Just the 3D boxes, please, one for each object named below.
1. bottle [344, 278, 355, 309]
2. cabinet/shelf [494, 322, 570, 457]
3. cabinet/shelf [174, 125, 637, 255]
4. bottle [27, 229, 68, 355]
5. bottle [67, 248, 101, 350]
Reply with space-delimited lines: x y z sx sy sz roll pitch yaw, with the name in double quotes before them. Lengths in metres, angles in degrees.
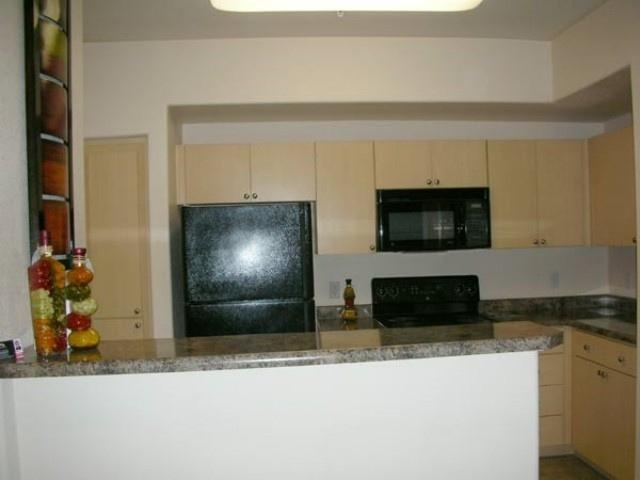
"bottle" 0.207 0.379 4.001 0.076 0.217 0.139 0 8 3
"cabinet/shelf" 1.609 1.108 4.035 0.331 0.656 0.356 -4 -7 34
"cabinet/shelf" 0.653 -0.348 3.946 2.788 0.846 0.470 1 8 4
"bottle" -1.141 0.217 2.356 0.140 0.505 0.143 0 8 0
"bottle" -1.039 0.241 2.435 0.127 0.422 0.205 -4 9 -26
